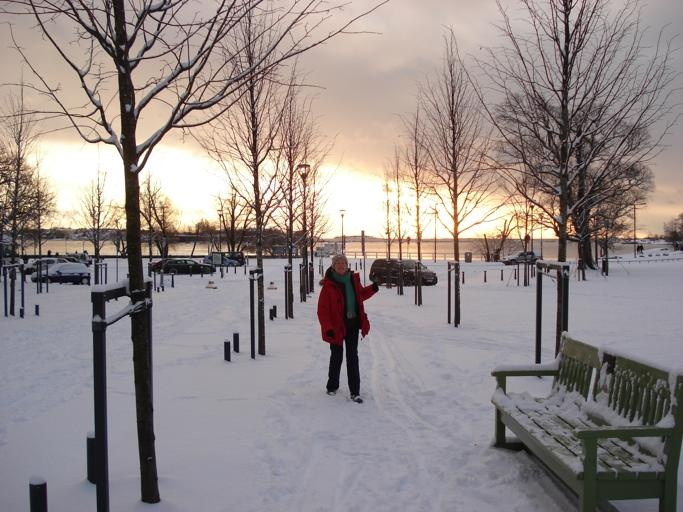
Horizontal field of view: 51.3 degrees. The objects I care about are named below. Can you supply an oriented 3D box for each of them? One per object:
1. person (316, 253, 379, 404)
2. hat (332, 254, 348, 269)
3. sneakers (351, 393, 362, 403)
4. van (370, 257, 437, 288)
[{"bbox_3d":[0.066,1.102,11.099,0.849,2.234,0.693,-1,5,-6],"label":"person"},{"bbox_3d":[-0.019,0.083,11.076,0.161,0.241,0.225,2,-12,-11],"label":"hat"},{"bbox_3d":[0.236,2.187,10.938,0.186,0.113,0.225,0,6,2],"label":"sneakers"},{"bbox_3d":[2.098,0.486,30.043,2.928,1.296,1.376,-4,-4,42],"label":"van"}]
